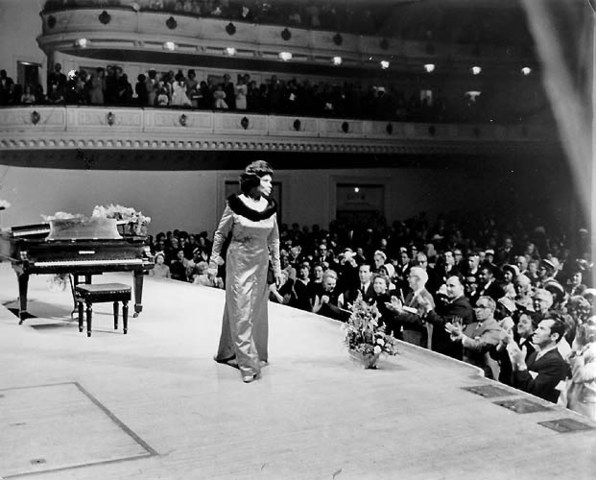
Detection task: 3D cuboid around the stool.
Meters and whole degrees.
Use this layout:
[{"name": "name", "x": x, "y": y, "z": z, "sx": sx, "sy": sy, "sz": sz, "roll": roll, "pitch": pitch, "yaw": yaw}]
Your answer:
[{"name": "stool", "x": -2.101, "y": 0.650, "z": 7.942, "sx": 0.712, "sy": 0.762, "sz": 0.550, "roll": 1, "pitch": -2, "yaw": -36}]

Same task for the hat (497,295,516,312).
[{"name": "hat", "x": 2.235, "y": 0.686, "z": 7.504, "sx": 0.161, "sy": 0.130, "sz": 0.197, "roll": -3, "pitch": 8, "yaw": -17}]

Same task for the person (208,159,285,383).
[{"name": "person", "x": -0.432, "y": 0.376, "z": 6.472, "sx": 0.600, "sy": 1.661, "sz": 0.751, "roll": -4, "pitch": 8, "yaw": -24}]

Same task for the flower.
[{"name": "flower", "x": 0.674, "y": 0.791, "z": 6.843, "sx": 0.480, "sy": 0.707, "sz": 0.531, "roll": 3, "pitch": -5, "yaw": -7}]

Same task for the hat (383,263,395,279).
[{"name": "hat", "x": 1.152, "y": 0.390, "z": 9.087, "sx": 0.127, "sy": 0.172, "sz": 0.176, "roll": -2, "pitch": -29, "yaw": 39}]

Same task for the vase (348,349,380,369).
[{"name": "vase", "x": 0.642, "y": 1.123, "z": 6.637, "sx": 0.141, "sy": 0.127, "sz": 0.271, "roll": 2, "pitch": -2, "yaw": -27}]
